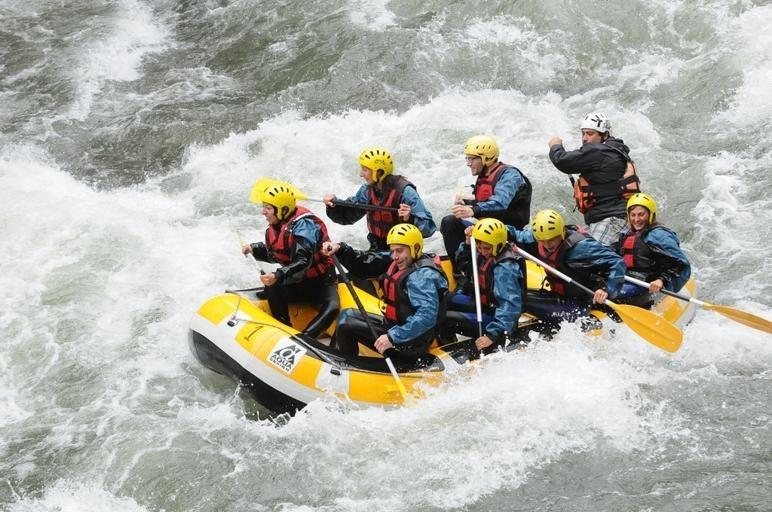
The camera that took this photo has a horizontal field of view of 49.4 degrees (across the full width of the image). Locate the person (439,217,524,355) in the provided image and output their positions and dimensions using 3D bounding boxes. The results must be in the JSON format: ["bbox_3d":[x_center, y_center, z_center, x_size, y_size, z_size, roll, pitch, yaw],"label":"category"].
[{"bbox_3d":[1.212,0.441,10.356,0.869,1.413,1.140,-15,32,-15],"label":"person"}]

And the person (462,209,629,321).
[{"bbox_3d":[2.166,0.070,10.821,1.153,1.305,2.196,-21,17,-35],"label":"person"}]

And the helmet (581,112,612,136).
[{"bbox_3d":[2.908,-1.791,11.573,0.326,0.299,0.410,24,34,24],"label":"helmet"}]

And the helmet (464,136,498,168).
[{"bbox_3d":[1.260,-1.415,11.233,0.501,0.340,0.332,-3,15,-9],"label":"helmet"}]

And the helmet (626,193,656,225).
[{"bbox_3d":[3.355,-0.619,10.791,0.384,0.421,0.422,1,-3,27],"label":"helmet"}]

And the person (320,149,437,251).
[{"bbox_3d":[-0.103,-0.729,11.862,0.869,1.439,1.158,-37,43,-22],"label":"person"}]

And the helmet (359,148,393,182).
[{"bbox_3d":[-0.129,-1.195,11.135,0.533,0.398,0.378,-2,15,-32],"label":"helmet"}]

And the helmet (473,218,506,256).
[{"bbox_3d":[1.316,-0.236,10.241,0.443,0.357,0.427,10,19,24],"label":"helmet"}]
